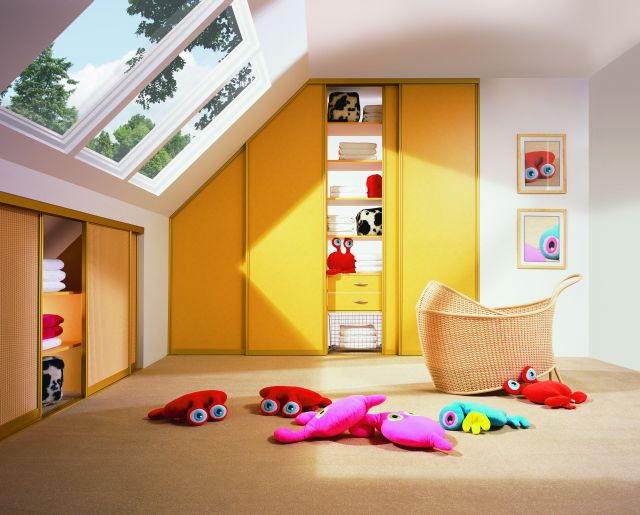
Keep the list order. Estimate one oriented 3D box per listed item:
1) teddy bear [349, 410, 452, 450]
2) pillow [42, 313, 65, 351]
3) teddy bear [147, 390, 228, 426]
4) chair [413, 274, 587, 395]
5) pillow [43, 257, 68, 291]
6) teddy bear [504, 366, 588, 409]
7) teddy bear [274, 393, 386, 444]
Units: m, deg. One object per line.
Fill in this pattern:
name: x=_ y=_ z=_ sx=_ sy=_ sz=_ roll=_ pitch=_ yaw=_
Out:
teddy bear: x=0.465 y=0.924 z=2.883 sx=0.218 sy=0.096 sz=0.375 roll=2 pitch=-1 yaw=-43
pillow: x=-1.781 y=0.487 z=3.573 sx=0.089 sy=0.217 sz=0.213 roll=-2 pitch=-5 yaw=27
teddy bear: x=-0.791 y=0.913 z=3.223 sx=0.459 sy=0.145 sz=0.242 roll=-3 pitch=7 yaw=-20
chair: x=1.119 y=0.591 z=3.865 sx=1.239 sy=0.713 sz=0.680 roll=1 pitch=-6 yaw=-1
pillow: x=-1.818 y=0.108 z=3.672 sx=0.155 sy=0.188 sz=0.264 roll=-1 pitch=-1 yaw=3
teddy bear: x=1.469 y=0.872 z=3.551 sx=0.302 sy=0.120 sz=0.340 roll=2 pitch=-4 yaw=-31
teddy bear: x=0.061 y=0.901 z=2.966 sx=0.455 sy=0.141 sz=0.295 roll=-4 pitch=-7 yaw=8
